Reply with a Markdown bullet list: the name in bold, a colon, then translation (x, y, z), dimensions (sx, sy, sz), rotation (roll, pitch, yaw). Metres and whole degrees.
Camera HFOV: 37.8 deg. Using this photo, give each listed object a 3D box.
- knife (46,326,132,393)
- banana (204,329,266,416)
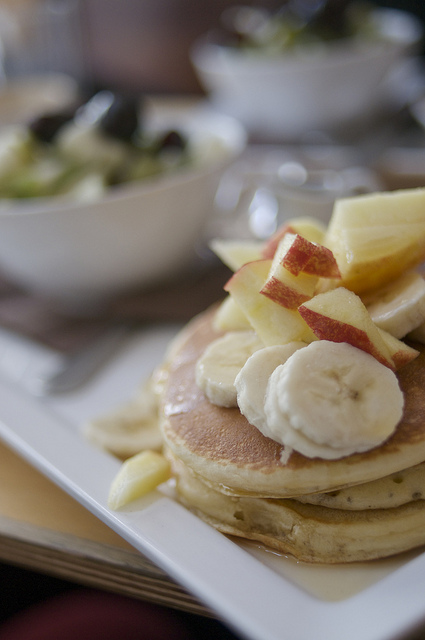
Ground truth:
- **knife**: translation (-0.200, 0.064, 1.018), dimensions (0.064, 0.024, 0.119), rotation (4, 33, 47)
- **banana**: translation (0.023, 0.066, 0.797), dimensions (0.099, 0.023, 0.096), rotation (-25, 29, 29)
